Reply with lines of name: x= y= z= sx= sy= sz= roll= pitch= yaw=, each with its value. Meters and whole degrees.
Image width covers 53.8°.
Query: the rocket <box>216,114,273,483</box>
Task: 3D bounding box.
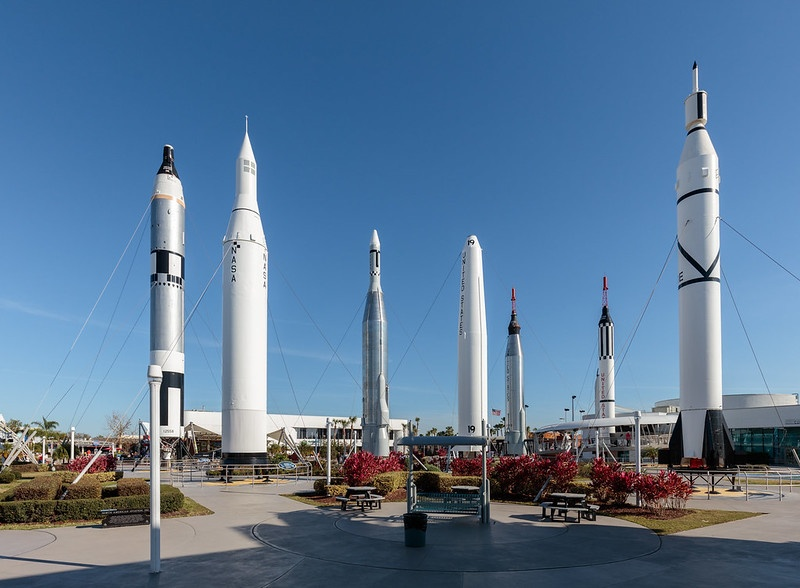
rocket: x=-9.876 y=0.267 z=50.697 sx=3.002 sy=22.400 sz=3.898 roll=1 pitch=-16 yaw=-4

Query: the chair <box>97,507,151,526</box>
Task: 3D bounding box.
chair: x=-10.898 y=8.865 z=31.104 sx=1.789 sy=0.713 sz=0.569 roll=6 pitch=-18 yaw=-20

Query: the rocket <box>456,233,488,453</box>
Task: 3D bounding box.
rocket: x=5.723 y=3.324 z=63.845 sx=1.972 sy=15.875 sz=3.328 roll=1 pitch=-17 yaw=-7

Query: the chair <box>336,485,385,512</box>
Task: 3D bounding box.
chair: x=-1.836 y=9.225 z=35.440 sx=1.766 sy=1.116 sz=2.320 roll=1 pitch=-18 yaw=-5

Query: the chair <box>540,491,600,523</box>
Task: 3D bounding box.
chair: x=6.876 y=8.807 z=32.446 sx=2.161 sy=1.227 sz=2.107 roll=-4 pitch=-18 yaw=9

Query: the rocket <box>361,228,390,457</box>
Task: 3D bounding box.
rocket: x=-2.092 y=3.939 z=65.918 sx=1.550 sy=18.935 sz=2.557 roll=10 pitch=-20 yaw=-32

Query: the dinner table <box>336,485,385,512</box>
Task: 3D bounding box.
dinner table: x=-1.902 y=9.234 z=35.462 sx=1.801 sy=1.116 sz=2.389 roll=2 pitch=-18 yaw=-10

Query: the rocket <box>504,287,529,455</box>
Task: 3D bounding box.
rocket: x=10.985 y=7.945 z=77.432 sx=1.805 sy=15.875 sz=7.011 roll=-3 pitch=-17 yaw=7
